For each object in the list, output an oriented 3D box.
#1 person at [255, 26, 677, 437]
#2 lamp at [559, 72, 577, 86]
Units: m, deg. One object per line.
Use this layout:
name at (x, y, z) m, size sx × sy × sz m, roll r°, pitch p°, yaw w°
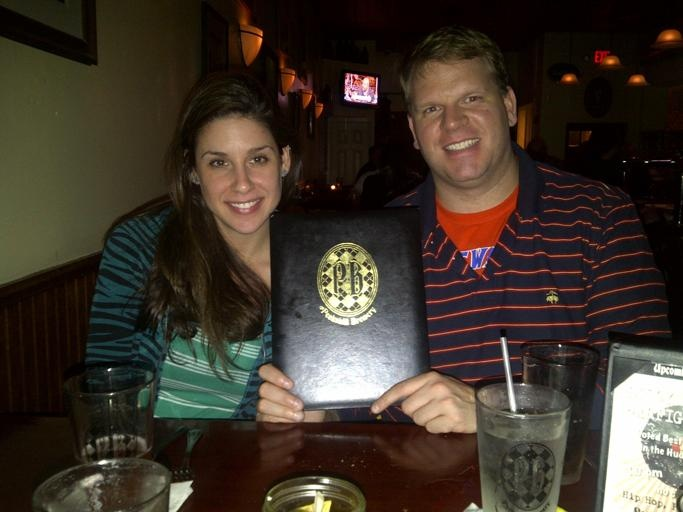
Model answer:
person at (0.637, -0.217, 1.919) m, size 0.841 × 1.244 × 0.568 m, roll -4°, pitch 7°, yaw -4°
lamp at (3.993, -3.106, 9.566) m, size 0.280 × 0.160 × 0.269 m, roll -1°, pitch 10°, yaw 2°
